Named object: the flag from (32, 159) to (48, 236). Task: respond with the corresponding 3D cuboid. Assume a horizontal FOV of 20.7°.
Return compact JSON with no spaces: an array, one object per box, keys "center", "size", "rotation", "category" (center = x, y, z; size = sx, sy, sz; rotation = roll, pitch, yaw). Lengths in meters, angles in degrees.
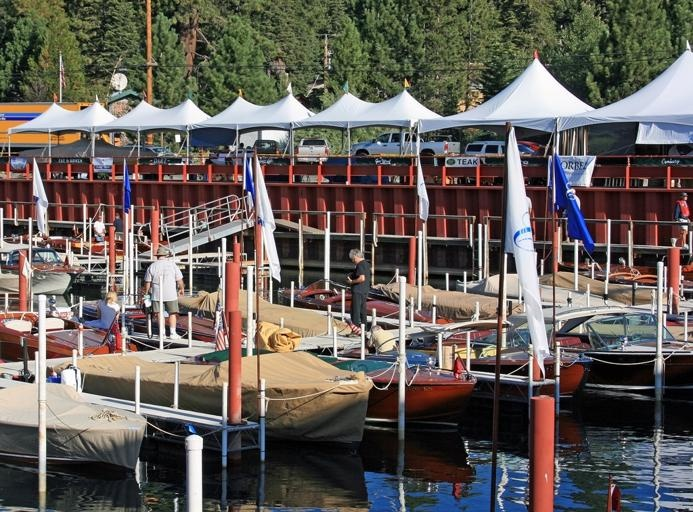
[{"center":[-11.758,-2.260,72.507],"size":[0.424,2.839,2.554],"rotation":[-2,2,-10],"category":"flag"}]
